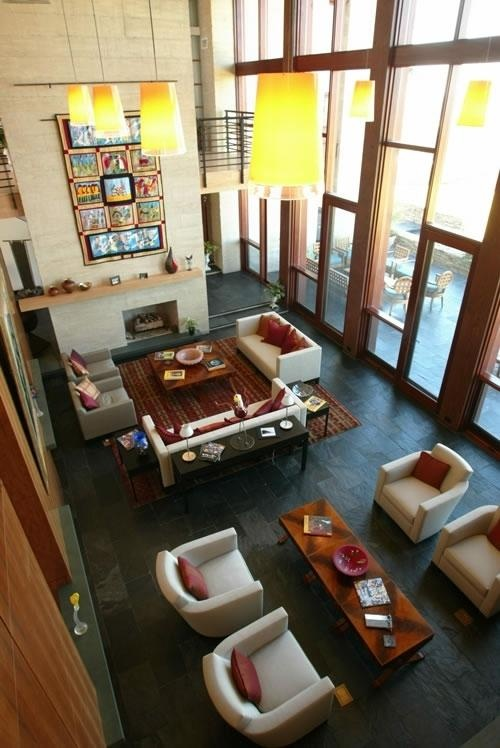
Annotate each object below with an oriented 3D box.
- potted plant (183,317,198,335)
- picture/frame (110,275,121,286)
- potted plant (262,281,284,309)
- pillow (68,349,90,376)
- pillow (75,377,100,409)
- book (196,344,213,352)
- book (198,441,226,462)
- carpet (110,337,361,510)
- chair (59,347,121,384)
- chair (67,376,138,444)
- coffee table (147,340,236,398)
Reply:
[{"bbox_3d":[-1.208,-0.975,9.927,0.262,0.341,0.332,-8,32,-11],"label":"potted plant"},{"bbox_3d":[-2.433,-1.684,8.677,0.171,0.129,0.024,-23,38,-35],"label":"picture/frame"},{"bbox_3d":[0.563,-1.753,10.857,0.474,0.639,0.473,14,39,15],"label":"potted plant"},{"bbox_3d":[-2.781,-0.168,7.760,0.119,0.403,0.413,-22,17,4],"label":"pillow"},{"bbox_3d":[-2.383,0.301,7.088,0.124,0.412,0.430,-31,-7,3],"label":"pillow"},{"bbox_3d":[-0.821,-0.467,8.784,0.267,0.022,0.309,-2,29,-7],"label":"book"},{"bbox_3d":[-0.470,0.953,5.994,0.301,0.060,0.403,0,31,7],"label":"book"},{"bbox_3d":[-0.563,0.394,8.185,2.594,0.023,2.996,-11,36,-20],"label":"carpet"},{"bbox_3d":[-2.646,0.004,8.097,0.712,0.677,0.688,-15,42,-21],"label":"chair"},{"bbox_3d":[-2.176,0.581,7.474,0.938,0.747,0.930,-18,45,-21],"label":"chair"},{"bbox_3d":[-0.932,-0.040,8.165,0.978,0.239,0.964,-17,41,-21],"label":"coffee table"}]
